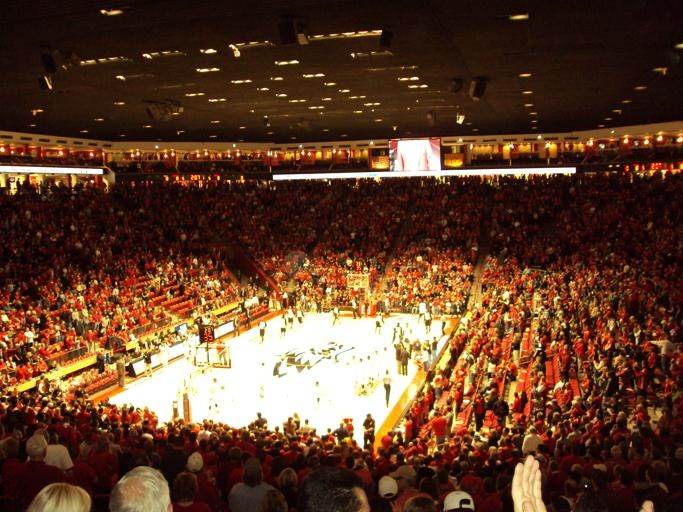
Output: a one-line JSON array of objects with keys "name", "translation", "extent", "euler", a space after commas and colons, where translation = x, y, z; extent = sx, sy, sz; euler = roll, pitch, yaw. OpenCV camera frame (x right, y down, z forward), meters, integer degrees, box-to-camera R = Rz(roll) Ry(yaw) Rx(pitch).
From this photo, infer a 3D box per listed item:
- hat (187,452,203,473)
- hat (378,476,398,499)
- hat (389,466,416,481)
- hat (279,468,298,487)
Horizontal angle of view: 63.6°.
[{"name": "hat", "translation": [-2.647, 3.760, 10.021], "extent": [0.261, 0.343, 0.331], "euler": [7, -20, -17]}, {"name": "hat", "translation": [0.736, 3.711, 8.803], "extent": [0.266, 0.332, 0.520], "euler": [1, -20, 1]}, {"name": "hat", "translation": [1.223, 4.280, 10.845], "extent": [0.321, 0.111, 0.229], "euler": [0, 1, 19]}, {"name": "hat", "translation": [-0.892, 3.742, 9.320], "extent": [0.237, 0.311, 0.313], "euler": [2, 8, -1]}]
